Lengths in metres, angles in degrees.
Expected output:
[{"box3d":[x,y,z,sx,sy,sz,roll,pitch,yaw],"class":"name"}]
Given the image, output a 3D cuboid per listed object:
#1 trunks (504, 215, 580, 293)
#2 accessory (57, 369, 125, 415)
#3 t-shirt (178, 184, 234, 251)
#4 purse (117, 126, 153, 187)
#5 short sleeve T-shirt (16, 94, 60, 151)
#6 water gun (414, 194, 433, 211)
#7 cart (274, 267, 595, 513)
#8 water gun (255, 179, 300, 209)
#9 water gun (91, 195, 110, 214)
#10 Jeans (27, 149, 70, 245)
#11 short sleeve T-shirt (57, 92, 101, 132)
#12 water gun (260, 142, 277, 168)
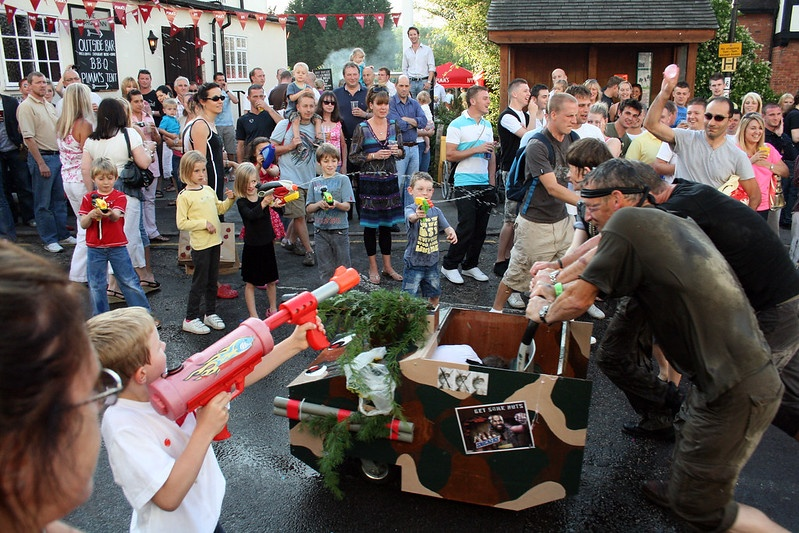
[{"box3d":[1.404,-0.118,5.453,0.714,0.677,0.334,17,1,-40],"class":"trunks"},{"box3d":[-0.832,0.378,1.533,0.149,0.047,0.138,-14,16,-28],"class":"accessory"},{"box3d":[-2.160,-0.527,6.201,0.493,0.643,0.544,0,17,3],"class":"t-shirt"},{"box3d":[-3.167,-1.262,6.732,0.415,0.746,0.558,3,4,-21],"class":"purse"},{"box3d":[-5.756,-2.281,8.983,0.502,0.891,0.790,6,19,-8],"class":"short sleeve T-shirt"},{"box3d":[0.275,-0.672,6.147,0.131,0.067,0.183,3,-20,33],"class":"water gun"},{"box3d":[0.370,0.962,4.115,1.939,1.077,1.174,3,14,11],"class":"cart"},{"box3d":[-1.343,-0.804,6.270,0.739,0.288,0.336,9,19,30],"class":"water gun"},{"box3d":[-3.062,-0.624,5.735,0.199,0.074,0.116,39,31,30],"class":"water gun"},{"box3d":[-5.545,-1.052,8.890,0.433,1.514,0.592,-2,8,-1],"class":"Jeans"},{"box3d":[-3.973,-1.962,6.932,0.455,0.622,0.348,19,21,32],"class":"short sleeve T-shirt"},{"box3d":[-1.863,-1.567,8.035,0.114,0.327,0.235,9,24,22],"class":"water gun"}]
